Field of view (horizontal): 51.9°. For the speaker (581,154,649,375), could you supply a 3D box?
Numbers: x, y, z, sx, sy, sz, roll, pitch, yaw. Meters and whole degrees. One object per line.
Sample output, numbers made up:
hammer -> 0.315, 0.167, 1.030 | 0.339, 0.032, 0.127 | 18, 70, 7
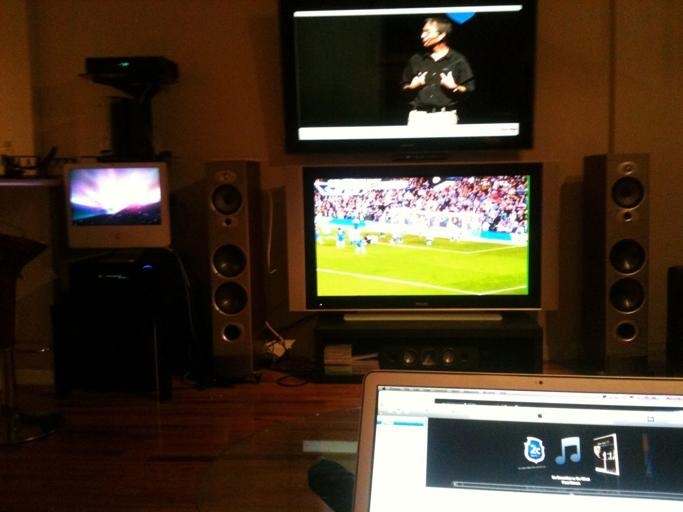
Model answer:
speaker -> 1.579, 0.043, 4.130 | 0.424, 1.265, 0.277 | 4, 9, 36

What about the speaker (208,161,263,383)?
speaker -> -0.640, 0.087, 4.232 | 0.304, 1.296, 0.380 | -1, 7, -2

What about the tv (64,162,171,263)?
tv -> -1.298, -0.264, 4.096 | 0.632, 0.511, 0.065 | 0, 1, -1
